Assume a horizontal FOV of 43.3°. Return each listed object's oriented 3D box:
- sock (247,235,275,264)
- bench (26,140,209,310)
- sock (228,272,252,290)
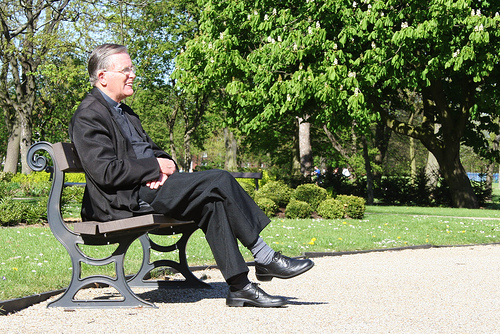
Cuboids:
[{"bbox_3d":[0.179,1.407,10.726,0.483,0.477,0.135,2,6,0],"label":"sock"},{"bbox_3d":[-3.331,0.971,12.811,2.442,2.727,4.370,3,2,-18],"label":"bench"},{"bbox_3d":[-0.155,1.923,10.866,0.321,0.276,0.283,-26,1,11],"label":"sock"}]
